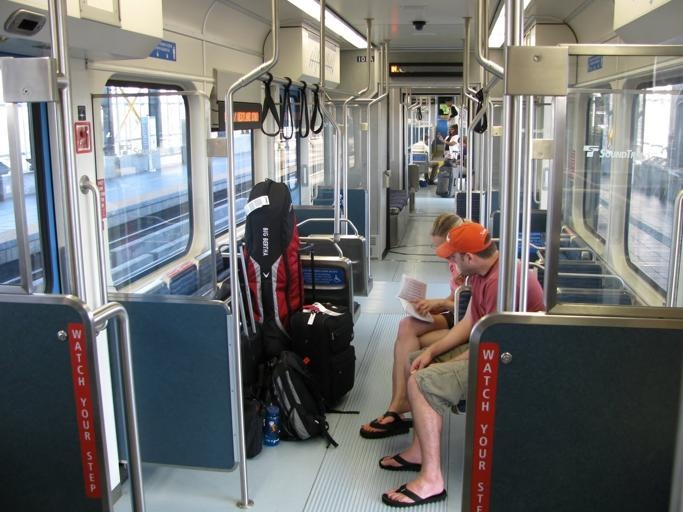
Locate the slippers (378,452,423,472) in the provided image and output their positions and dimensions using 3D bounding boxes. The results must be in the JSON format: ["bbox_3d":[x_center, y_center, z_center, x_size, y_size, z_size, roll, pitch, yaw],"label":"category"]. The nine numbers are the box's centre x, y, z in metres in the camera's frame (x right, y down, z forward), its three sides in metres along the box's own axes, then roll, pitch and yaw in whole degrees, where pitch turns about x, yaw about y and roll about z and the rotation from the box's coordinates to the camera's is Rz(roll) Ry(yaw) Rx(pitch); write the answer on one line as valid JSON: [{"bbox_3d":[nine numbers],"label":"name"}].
[{"bbox_3d":[0.446,1.509,3.865,0.311,0.089,0.120,5,11,3],"label":"slippers"}]

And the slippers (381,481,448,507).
[{"bbox_3d":[0.488,1.583,3.518,0.340,0.097,0.161,1,3,-6],"label":"slippers"}]

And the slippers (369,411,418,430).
[{"bbox_3d":[0.430,1.352,4.363,0.401,0.143,0.149,1,1,-9],"label":"slippers"}]

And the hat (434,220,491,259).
[{"bbox_3d":[0.871,-0.136,3.761,0.392,0.216,0.277,-8,15,17],"label":"hat"}]

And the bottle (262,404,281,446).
[{"bbox_3d":[-0.580,1.388,4.232,0.155,0.279,0.132,1,-1,-8],"label":"bottle"}]

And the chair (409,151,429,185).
[{"bbox_3d":[3.427,-3.865,22.730,1.120,1.197,0.677,0,19,13],"label":"chair"}]

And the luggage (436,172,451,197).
[{"bbox_3d":[3.465,-2.389,17.305,0.367,0.871,0.752,-4,14,-13],"label":"luggage"}]

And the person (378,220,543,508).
[{"bbox_3d":[0.746,0.727,3.602,0.997,1.798,1.073,10,17,40],"label":"person"}]

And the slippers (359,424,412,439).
[{"bbox_3d":[0.361,1.427,4.354,0.363,0.145,0.135,1,1,-9],"label":"slippers"}]

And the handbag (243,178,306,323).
[{"bbox_3d":[-0.635,-0.036,4.802,0.531,1.288,0.466,-3,13,-6],"label":"handbag"}]

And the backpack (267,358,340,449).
[{"bbox_3d":[-0.357,1.147,4.308,0.241,0.712,0.507,-18,3,-16],"label":"backpack"}]

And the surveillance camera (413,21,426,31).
[{"bbox_3d":[1.172,-3.494,7.837,0.163,0.130,0.163,-1,10,-3],"label":"surveillance camera"}]
